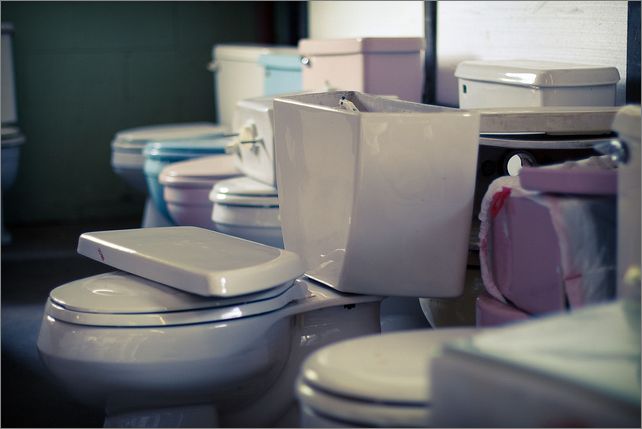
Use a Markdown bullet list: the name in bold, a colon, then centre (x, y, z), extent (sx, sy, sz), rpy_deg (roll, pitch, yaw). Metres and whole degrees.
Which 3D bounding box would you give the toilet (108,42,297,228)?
- **toilet**: centre (-0.551, -0.434, 3.090), extent (1.008, 1.064, 0.745), rpy_deg (-1, 10, -15)
